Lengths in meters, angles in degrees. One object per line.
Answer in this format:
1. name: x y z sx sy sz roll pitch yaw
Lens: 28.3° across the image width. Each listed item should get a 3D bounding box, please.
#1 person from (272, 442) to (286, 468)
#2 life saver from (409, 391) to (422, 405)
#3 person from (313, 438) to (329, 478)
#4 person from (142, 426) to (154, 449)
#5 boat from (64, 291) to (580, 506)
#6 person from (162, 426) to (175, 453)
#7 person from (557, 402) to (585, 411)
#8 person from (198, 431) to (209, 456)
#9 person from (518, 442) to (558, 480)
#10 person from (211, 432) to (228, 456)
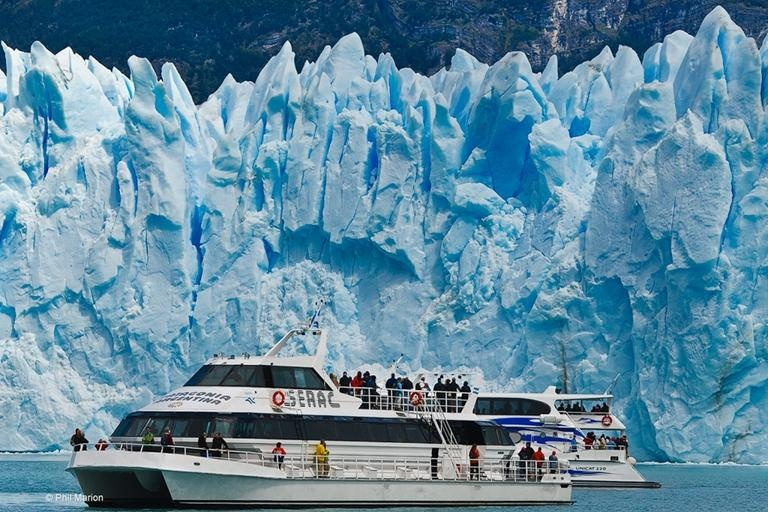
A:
1. person: -4.360 8.094 62.211 0.523 0.986 0.598 -1 6 7
2. life saver: 1.250 5.963 63.936 0.643 0.586 0.086 -1 3 12
3. person: -2.589 8.305 62.147 0.565 1.326 0.317 -2 6 -2
4. person: -9.638 7.440 61.937 0.496 0.794 1.284 -3 5 -9
5. boat: -1.757 5.772 64.186 16.517 6.852 9.762 8 -13 -31
6. person: -8.869 7.513 61.867 0.486 0.776 1.185 -2 5 -7
7. person: 8.555 6.980 70.192 0.818 0.337 0.564 1 -1 -29
8. person: -7.401 7.625 61.796 0.424 0.865 0.816 -2 6 -8
9. person: 6.365 8.714 64.221 1.589 1.109 1.651 -2 2 -43
10. person: -6.761 7.663 61.800 0.669 0.913 0.716 -2 6 -6
